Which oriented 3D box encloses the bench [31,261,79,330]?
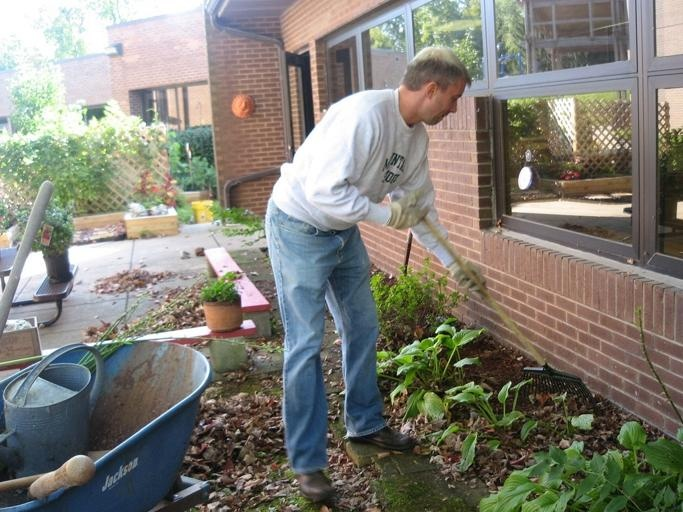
[{"bbox_3d":[-3.309,0.502,6.345,0.368,0.481,0.909,-8,9,-22],"label":"bench"}]

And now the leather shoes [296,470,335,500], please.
[{"bbox_3d":[-0.128,1.187,2.781,0.108,0.092,0.198,-5,4,-34],"label":"leather shoes"}]

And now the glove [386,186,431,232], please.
[{"bbox_3d":[0.356,-0.246,2.891,0.151,0.114,0.245,-1,21,39],"label":"glove"}]

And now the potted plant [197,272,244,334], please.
[{"bbox_3d":[-0.973,0.356,4.500,0.440,0.584,0.407,-5,0,-12],"label":"potted plant"}]

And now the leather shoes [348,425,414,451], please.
[{"bbox_3d":[0.226,1.063,3.119,0.351,0.165,0.134,-4,12,11],"label":"leather shoes"}]

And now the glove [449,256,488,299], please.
[{"bbox_3d":[0.709,0.106,3.105,0.167,0.082,0.228,39,16,-39],"label":"glove"}]

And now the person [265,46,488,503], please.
[{"bbox_3d":[0.102,0.096,2.904,0.967,2.230,0.534,-6,8,-10],"label":"person"}]

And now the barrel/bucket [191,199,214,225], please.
[{"bbox_3d":[-3.474,-1.049,13.559,0.715,0.890,0.575,-2,3,-20],"label":"barrel/bucket"}]
